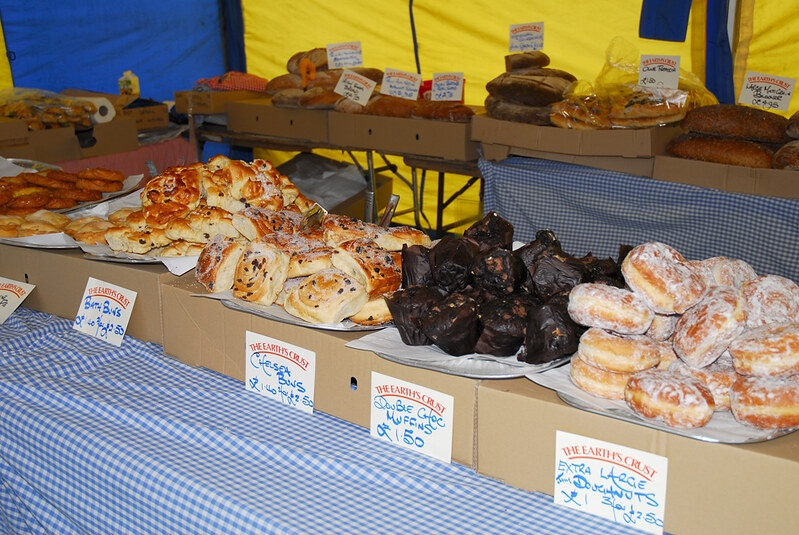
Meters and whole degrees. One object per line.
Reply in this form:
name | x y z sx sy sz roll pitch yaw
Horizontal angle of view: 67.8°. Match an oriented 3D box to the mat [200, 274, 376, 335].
mat | -0.426 0.165 2.106 0.395 0.048 0.287 11 13 34
